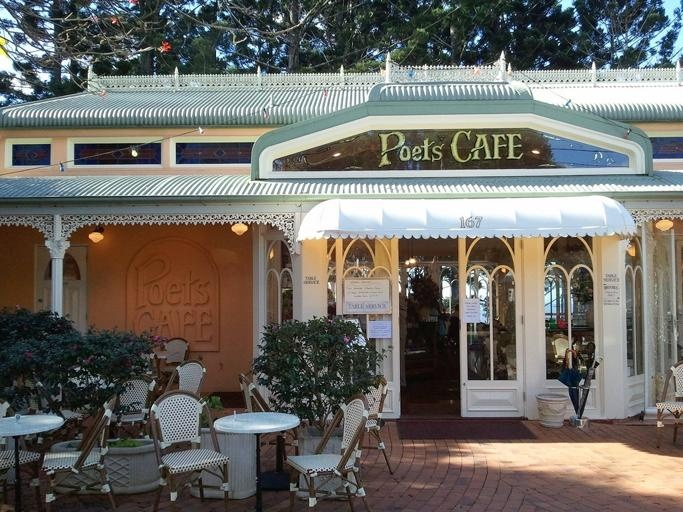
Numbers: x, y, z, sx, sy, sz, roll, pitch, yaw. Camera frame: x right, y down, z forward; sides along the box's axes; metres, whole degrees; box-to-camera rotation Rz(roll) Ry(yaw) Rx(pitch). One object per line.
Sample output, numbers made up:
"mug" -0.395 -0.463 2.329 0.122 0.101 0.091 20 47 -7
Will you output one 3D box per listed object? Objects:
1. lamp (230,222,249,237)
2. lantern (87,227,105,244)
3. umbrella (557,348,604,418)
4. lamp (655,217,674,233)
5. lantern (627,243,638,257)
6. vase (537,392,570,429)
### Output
"lamp" -2.310 -0.633 16.659 0.363 0.332 0.380 0 -5 -2
"lantern" -6.066 -0.523 18.264 0.307 0.488 0.380 1 -14 4
"umbrella" 5.031 2.641 15.656 0.725 1.483 0.895 4 8 34
"lamp" 7.018 -0.758 16.209 0.356 0.087 0.367 11 -23 -12
"lantern" 6.329 -0.138 16.119 0.273 0.272 0.090 -3 7 -22
"vase" 4.427 3.277 15.604 0.641 0.621 0.688 2 -6 2
